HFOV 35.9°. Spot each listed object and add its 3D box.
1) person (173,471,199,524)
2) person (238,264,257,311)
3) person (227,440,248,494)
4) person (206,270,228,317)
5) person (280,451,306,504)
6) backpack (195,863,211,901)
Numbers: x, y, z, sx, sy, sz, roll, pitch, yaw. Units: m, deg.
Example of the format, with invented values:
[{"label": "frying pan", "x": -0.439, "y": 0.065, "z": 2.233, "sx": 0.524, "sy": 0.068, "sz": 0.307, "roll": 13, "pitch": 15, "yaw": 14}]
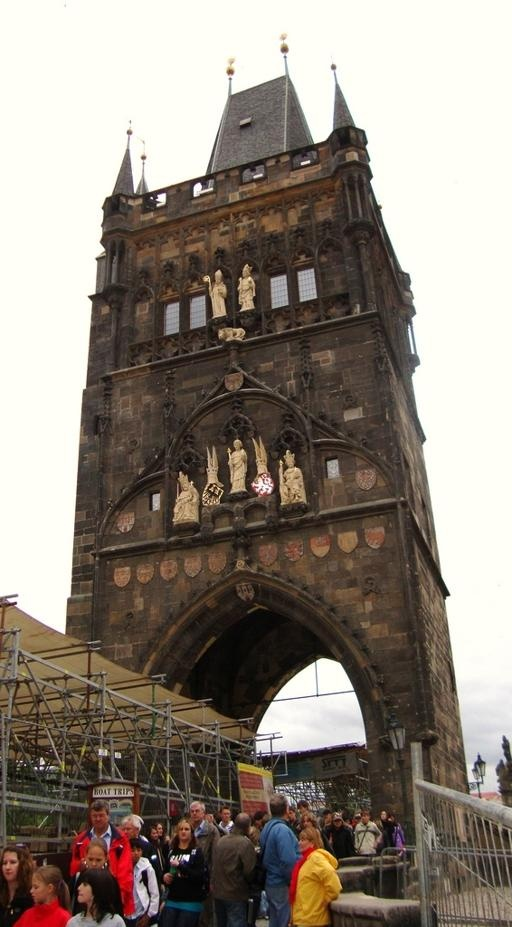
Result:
[{"label": "person", "x": -1.613, "y": 0.818, "z": 18.401, "sx": 0.582, "sy": 1.452, "sz": 0.360, "roll": -13, "pitch": -28, "yaw": 20}, {"label": "person", "x": -0.216, "y": -4.491, "z": 20.355, "sx": 0.480, "sy": 1.595, "sz": 0.314, "roll": -3, "pitch": -26, "yaw": 0}, {"label": "person", "x": -0.396, "y": 0.099, "z": 18.227, "sx": 0.454, "sy": 1.471, "sz": 0.414, "roll": -4, "pitch": -26, "yaw": 3}, {"label": "person", "x": -1.005, "y": -4.351, "z": 20.605, "sx": 0.538, "sy": 1.676, "sz": 0.339, "roll": -9, "pitch": -26, "yaw": 12}, {"label": "person", "x": 0.797, "y": 0.333, "z": 17.607, "sx": 0.580, "sy": 1.511, "sz": 0.408, "roll": -6, "pitch": -26, "yaw": 7}, {"label": "backpack", "x": -0.338, "y": 2.812, "z": 5.287, "sx": 0.073, "sy": 0.230, "sz": 0.163, "roll": -4, "pitch": -7, "yaw": 23}]
